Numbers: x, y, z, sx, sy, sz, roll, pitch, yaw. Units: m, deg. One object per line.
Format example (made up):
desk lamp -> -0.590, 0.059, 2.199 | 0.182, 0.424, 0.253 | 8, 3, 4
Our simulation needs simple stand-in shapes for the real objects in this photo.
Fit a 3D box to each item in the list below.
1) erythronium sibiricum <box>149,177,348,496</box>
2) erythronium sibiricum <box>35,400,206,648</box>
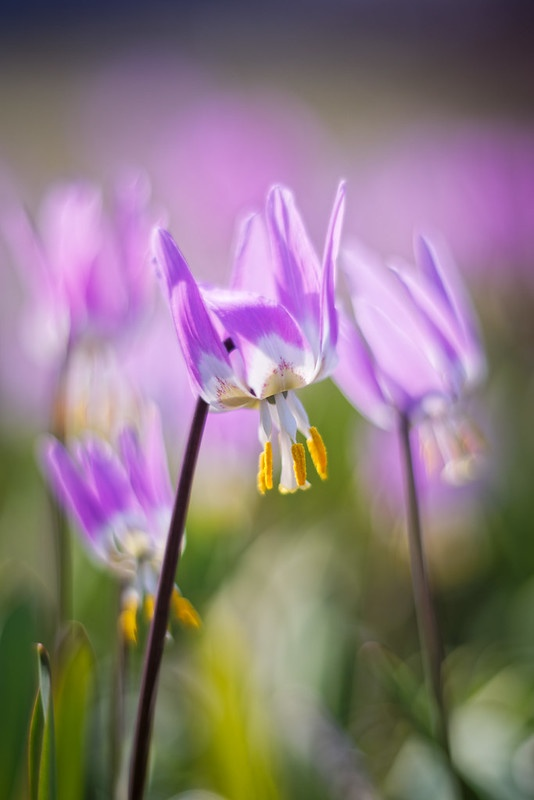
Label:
erythronium sibiricum -> -0.008, -0.029, 0.362 | 0.074, 0.175, 0.073 | -3, 5, -16
erythronium sibiricum -> -0.077, 0.069, 0.397 | 0.061, 0.132, 0.063 | -9, 37, -8
